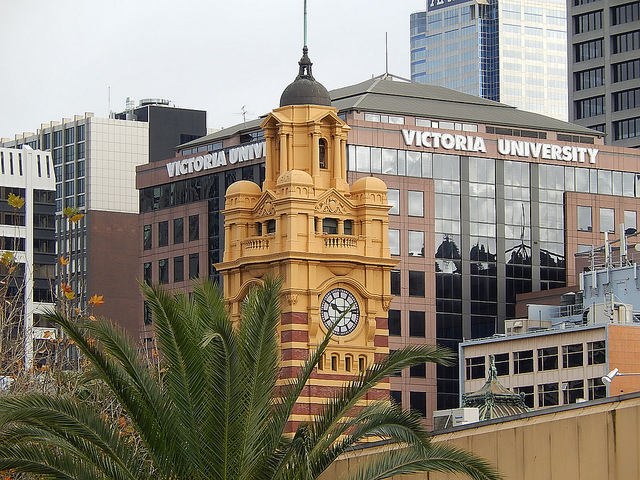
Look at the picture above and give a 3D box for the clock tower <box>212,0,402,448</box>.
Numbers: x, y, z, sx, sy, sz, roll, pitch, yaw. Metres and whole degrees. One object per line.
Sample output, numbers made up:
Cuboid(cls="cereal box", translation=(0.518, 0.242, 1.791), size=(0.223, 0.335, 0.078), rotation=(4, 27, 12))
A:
Cuboid(cls="clock tower", translation=(-0.412, -0.398, 115.843), size=(8.663, 21.887, 3.948), rotation=(-3, -18, 2))
